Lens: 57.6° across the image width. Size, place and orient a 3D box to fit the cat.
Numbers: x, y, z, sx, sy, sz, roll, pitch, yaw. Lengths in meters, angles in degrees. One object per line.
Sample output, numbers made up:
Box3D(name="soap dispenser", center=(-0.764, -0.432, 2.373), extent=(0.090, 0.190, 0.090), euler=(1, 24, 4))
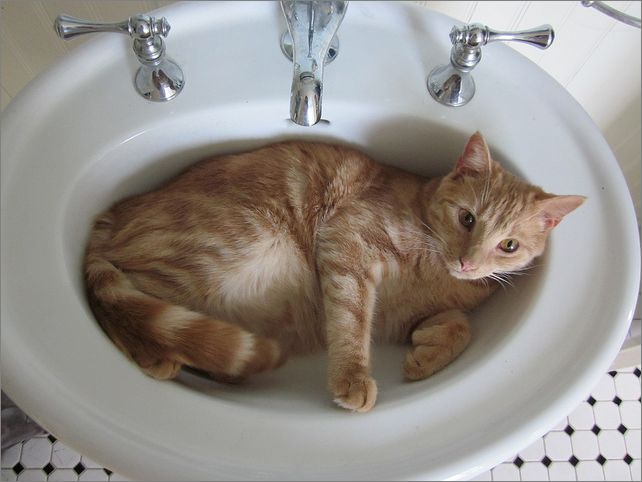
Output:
Box3D(name="cat", center=(0.018, -0.015, 1.490), extent=(1.107, 0.708, 0.634), euler=(14, 29, -9))
